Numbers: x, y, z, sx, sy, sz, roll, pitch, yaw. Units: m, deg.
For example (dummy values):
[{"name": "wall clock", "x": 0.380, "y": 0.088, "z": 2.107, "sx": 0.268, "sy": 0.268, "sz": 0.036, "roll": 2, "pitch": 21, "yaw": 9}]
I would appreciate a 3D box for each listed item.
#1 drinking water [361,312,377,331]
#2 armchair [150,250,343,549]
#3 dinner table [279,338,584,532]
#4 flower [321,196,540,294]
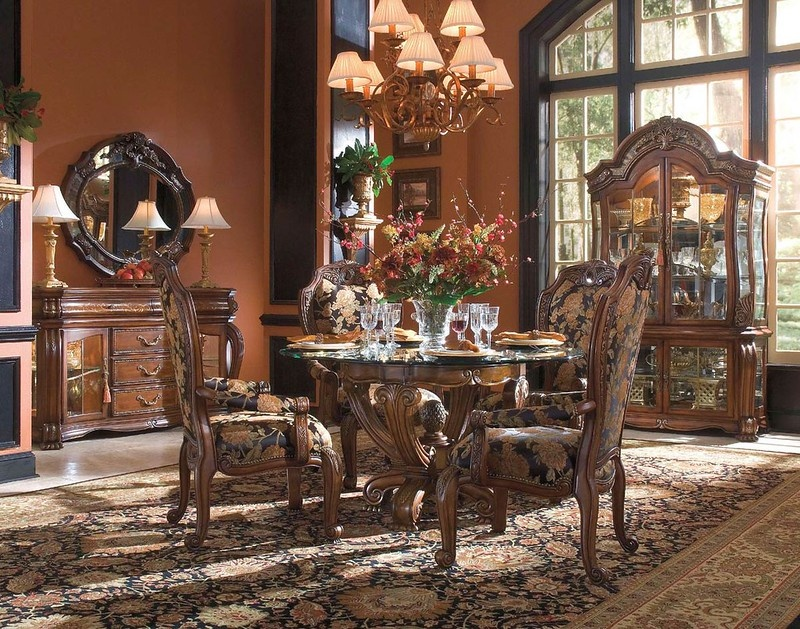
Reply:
[{"name": "drinking water", "x": -0.150, "y": 0.032, "z": 3.703, "sx": 0.075, "sy": 0.095, "sz": 0.114, "roll": 0, "pitch": 4, "yaw": -6}, {"name": "armchair", "x": -0.737, "y": 0.418, "z": 4.192, "sx": 1.270, "sy": 1.761, "sz": 1.088, "roll": 0, "pitch": 1, "yaw": -21}, {"name": "dinner table", "x": 0.086, "y": 0.487, "z": 3.786, "sx": 1.128, "sy": 0.643, "sz": 1.029, "roll": 0, "pitch": -1, "yaw": 3}, {"name": "flower", "x": 0.255, "y": -0.494, "z": 5.292, "sx": 1.059, "sy": 0.700, "sz": 1.036, "roll": -2, "pitch": -4, "yaw": -21}]
